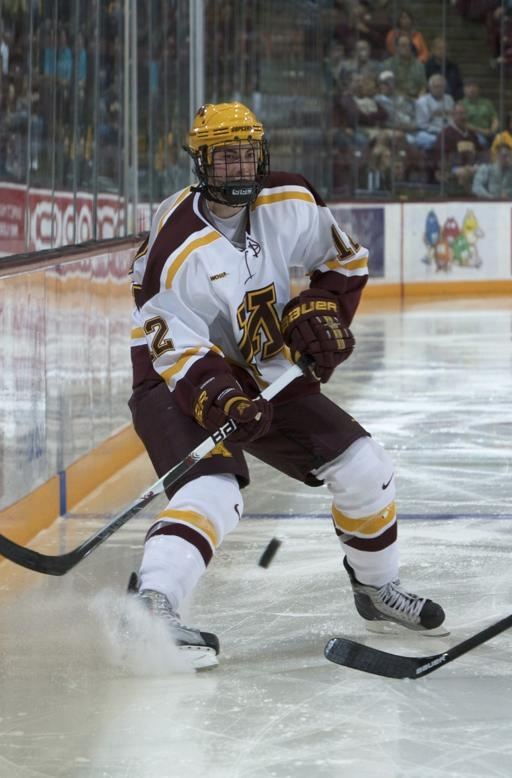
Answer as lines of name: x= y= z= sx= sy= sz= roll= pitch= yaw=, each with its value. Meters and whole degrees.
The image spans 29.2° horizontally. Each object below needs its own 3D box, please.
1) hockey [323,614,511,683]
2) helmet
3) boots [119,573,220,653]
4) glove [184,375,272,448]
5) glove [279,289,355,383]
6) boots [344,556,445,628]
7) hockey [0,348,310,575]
hockey: x=0.290 y=0.456 z=1.815 sx=0.359 sy=0.127 sz=0.125 roll=1 pitch=8 yaw=24
helmet: x=-0.058 y=-0.491 z=2.037 sx=0.183 sy=0.201 sz=0.209 roll=-14 pitch=24 yaw=-32
boots: x=-0.139 y=0.416 z=1.756 sx=0.139 sy=0.143 sz=0.095 roll=-3 pitch=8 yaw=-7
glove: x=-0.061 y=0.010 z=1.867 sx=0.124 sy=0.075 sz=0.162 roll=-3 pitch=11 yaw=-10
glove: x=0.139 y=-0.119 z=2.026 sx=0.093 sy=0.152 sz=0.220 roll=26 pitch=17 yaw=25
boots: x=0.281 y=0.423 z=2.023 sx=0.074 sy=0.145 sz=0.224 roll=-32 pitch=19 yaw=-32
hockey: x=-0.262 y=0.187 z=2.373 sx=0.789 sy=0.042 sz=0.205 roll=-37 pitch=23 yaw=-4
